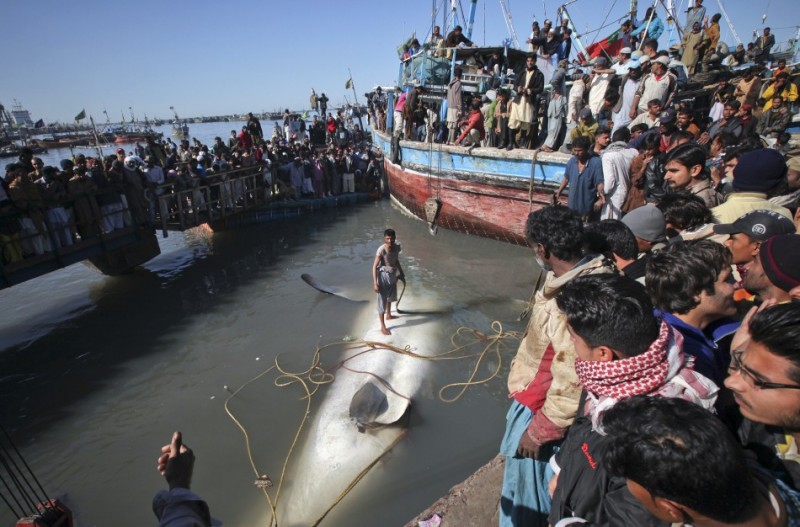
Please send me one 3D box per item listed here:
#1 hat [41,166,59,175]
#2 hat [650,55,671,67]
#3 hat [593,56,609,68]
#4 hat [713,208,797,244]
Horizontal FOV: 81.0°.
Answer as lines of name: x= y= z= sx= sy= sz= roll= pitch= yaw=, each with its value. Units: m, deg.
hat: x=-8.764 y=-2.329 z=11.715 sx=0.309 sy=0.185 sz=0.429 roll=-15 pitch=23 yaw=-35
hat: x=6.373 y=-4.885 z=11.398 sx=0.325 sy=0.264 sz=0.857 roll=8 pitch=21 yaw=25
hat: x=5.457 y=-5.404 z=12.720 sx=0.210 sy=0.304 sz=0.562 roll=15 pitch=24 yaw=38
hat: x=4.545 y=-0.486 z=6.068 sx=0.400 sy=0.265 sz=0.634 roll=-10 pitch=11 yaw=-28
